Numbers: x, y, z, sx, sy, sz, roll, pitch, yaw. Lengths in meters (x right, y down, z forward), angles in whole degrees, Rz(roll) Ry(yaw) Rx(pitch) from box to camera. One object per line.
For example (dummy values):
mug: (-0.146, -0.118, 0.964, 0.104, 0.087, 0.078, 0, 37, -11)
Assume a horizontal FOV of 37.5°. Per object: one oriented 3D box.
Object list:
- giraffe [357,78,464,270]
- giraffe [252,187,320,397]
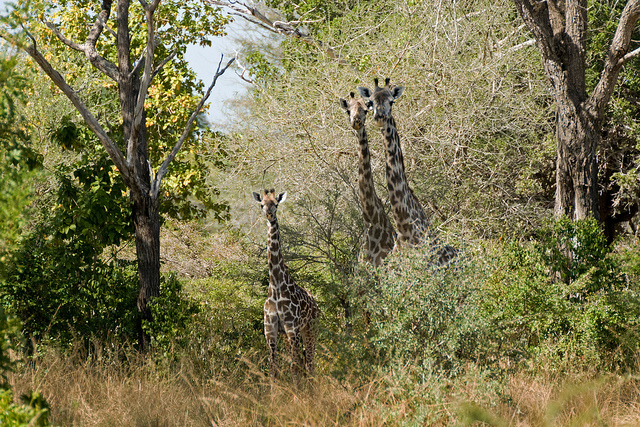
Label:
giraffe: (1.529, -0.664, 16.675, 1.786, 3.385, 1.210, 6, -12, -44)
giraffe: (-0.630, 1.383, 17.219, 1.069, 3.596, 1.622, -3, -9, 6)
